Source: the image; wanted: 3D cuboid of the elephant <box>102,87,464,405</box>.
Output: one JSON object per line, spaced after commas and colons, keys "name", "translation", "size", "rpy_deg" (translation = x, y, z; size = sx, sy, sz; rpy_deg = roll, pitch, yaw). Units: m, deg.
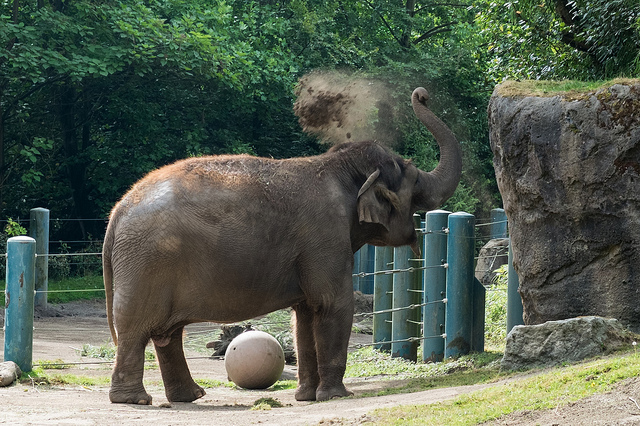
{"name": "elephant", "translation": [-0.699, 0.372, 16.069], "size": [5.182, 3.707, 2.427], "rpy_deg": [-4, 4, -21]}
